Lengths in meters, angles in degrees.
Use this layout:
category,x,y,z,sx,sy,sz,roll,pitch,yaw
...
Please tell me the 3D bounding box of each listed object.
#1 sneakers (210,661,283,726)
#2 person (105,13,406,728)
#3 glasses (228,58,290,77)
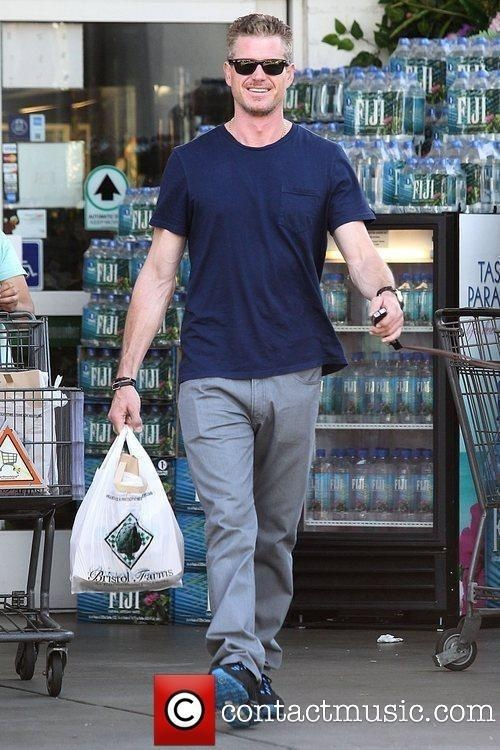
category,x,y,z,sx,sy,sz,roll,pitch,yaw
sneakers,-0.019,0.872,3.661,0.105,0.145,0.301,-9,-27,23
person,0.021,-0.024,3.785,0.732,1.950,0.604,-6,10,-25
glasses,0.024,-0.862,3.777,0.167,0.055,0.082,-2,10,0
